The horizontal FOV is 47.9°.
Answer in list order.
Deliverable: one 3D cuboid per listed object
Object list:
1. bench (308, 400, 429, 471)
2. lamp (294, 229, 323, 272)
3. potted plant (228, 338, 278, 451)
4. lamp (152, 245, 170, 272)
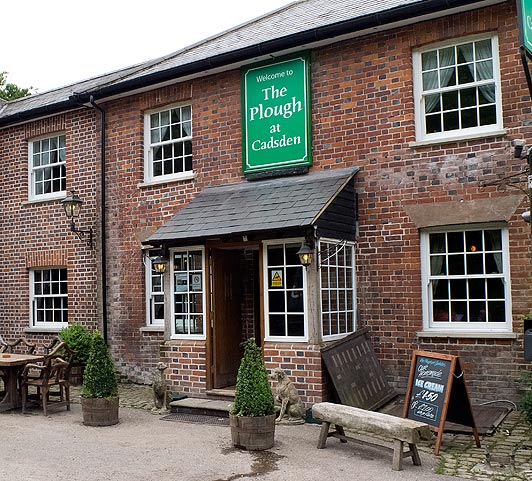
[{"bbox_3d":[1.261,2.460,7.568,0.430,0.588,1.561,6,-6,-42],"label":"bench"},{"bbox_3d":[0.675,0.099,9.451,0.309,0.615,0.483,-2,-8,7],"label":"lamp"},{"bbox_3d":[-0.197,2.031,7.978,0.590,1.447,0.313,-1,-8,0],"label":"potted plant"},{"bbox_3d":[-1.967,0.325,11.122,0.276,0.492,0.263,4,-9,-35],"label":"lamp"}]
